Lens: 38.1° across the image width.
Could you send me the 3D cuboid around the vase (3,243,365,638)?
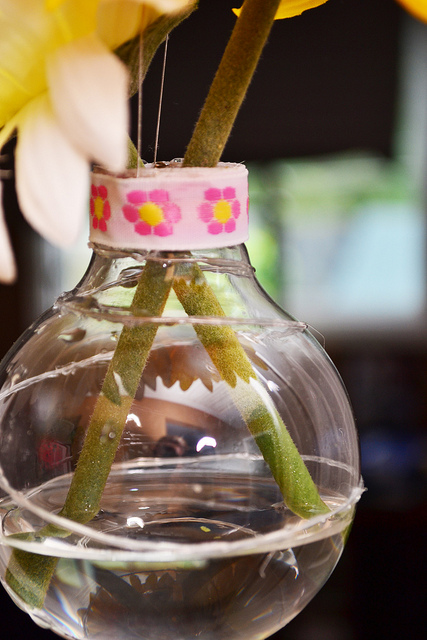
[{"bbox_3d":[-0.006,0.038,0.298,0.180,0.153,0.170,-1,88,-3],"label":"vase"}]
